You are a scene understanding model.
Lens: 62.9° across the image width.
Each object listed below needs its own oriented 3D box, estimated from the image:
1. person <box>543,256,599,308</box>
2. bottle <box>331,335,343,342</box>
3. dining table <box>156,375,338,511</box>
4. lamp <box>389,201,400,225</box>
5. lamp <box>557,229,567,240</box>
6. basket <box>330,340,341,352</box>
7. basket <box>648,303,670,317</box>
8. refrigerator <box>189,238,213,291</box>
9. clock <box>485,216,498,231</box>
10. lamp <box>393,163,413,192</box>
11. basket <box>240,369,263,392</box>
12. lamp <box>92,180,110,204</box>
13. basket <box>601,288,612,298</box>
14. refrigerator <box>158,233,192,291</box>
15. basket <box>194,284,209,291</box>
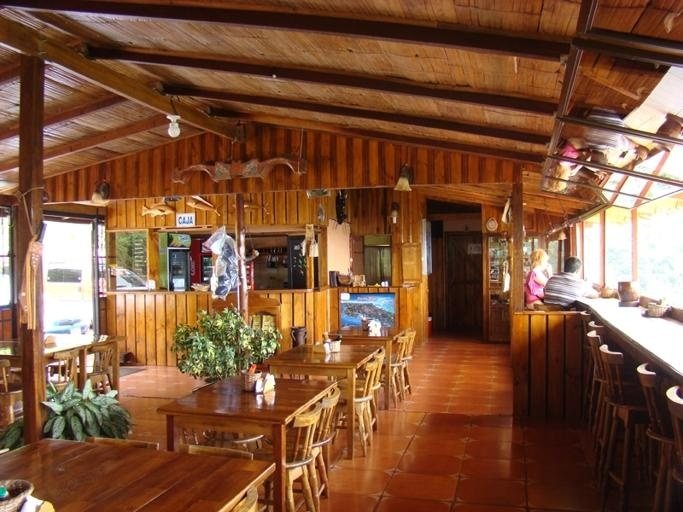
[{"bbox_3d":[2.965,0.402,7.239,0.720,0.689,0.524,4,5,-31],"label":"person"},{"bbox_3d":[-0.047,1.033,6.931,0.162,0.049,0.155,0,3,0],"label":"bottle"},{"bbox_3d":[-0.778,1.341,4.549,0.913,0.601,1.184,0,0,12],"label":"dining table"},{"bbox_3d":[1.127,-0.919,11.946,0.215,0.484,0.453,-1,2,5],"label":"lamp"},{"bbox_3d":[4.178,-0.407,10.611,0.186,0.187,0.182,2,7,26],"label":"lamp"},{"bbox_3d":[-0.071,1.024,6.376,0.111,0.101,0.110,0,-2,6],"label":"basket"},{"bbox_3d":[3.089,0.521,5.471,0.147,0.086,0.151,5,7,42],"label":"basket"},{"bbox_3d":[-3.074,0.183,11.815,0.571,1.015,0.626,2,-5,2],"label":"refrigerator"},{"bbox_3d":[3.278,-0.691,12.253,0.270,0.324,0.125,-1,3,21],"label":"clock"},{"bbox_3d":[0.781,-1.011,7.093,0.200,0.354,0.543,-1,2,6],"label":"lamp"},{"bbox_3d":[-0.778,1.089,4.887,0.175,0.122,0.172,0,-4,8],"label":"basket"},{"bbox_3d":[-3.666,-0.997,8.493,0.214,0.322,0.319,-4,3,-44],"label":"lamp"},{"bbox_3d":[3.482,0.488,7.357,0.124,0.086,0.119,-4,6,-30],"label":"basket"},{"bbox_3d":[-3.351,0.084,11.200,0.589,1.148,0.695,-2,2,-18],"label":"refrigerator"},{"bbox_3d":[-2.686,0.605,10.694,0.191,0.062,0.190,3,2,17],"label":"basket"}]
